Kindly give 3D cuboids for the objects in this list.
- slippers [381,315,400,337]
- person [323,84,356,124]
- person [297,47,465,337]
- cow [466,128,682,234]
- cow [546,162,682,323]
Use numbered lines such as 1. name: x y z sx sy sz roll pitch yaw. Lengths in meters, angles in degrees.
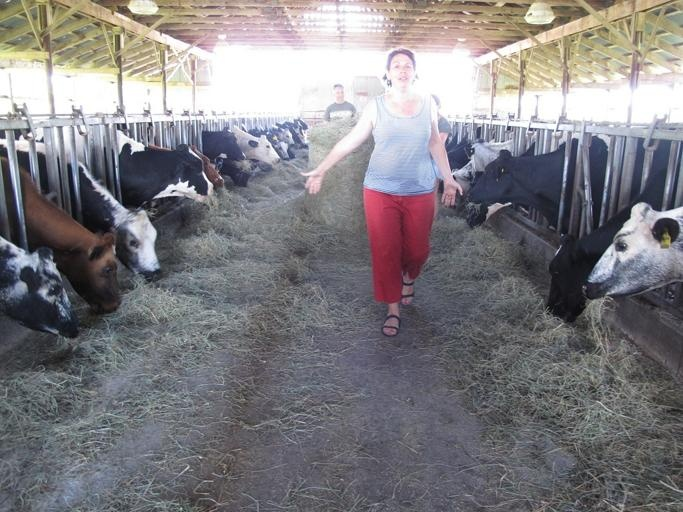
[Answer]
1. slippers: 0.369 0.519 3.394 0.128 0.115 0.345 0 3 7
2. person: -0.017 -3.285 10.240 0.734 1.084 0.481 -4 -2 -9
3. person: 0.412 -0.448 3.357 1.011 1.957 0.548 -9 20 -21
4. cow: 2.519 -0.657 4.985 2.220 1.260 0.568 -6 13 10
5. cow: 2.053 -0.039 3.514 1.399 0.765 0.354 -24 24 -7
